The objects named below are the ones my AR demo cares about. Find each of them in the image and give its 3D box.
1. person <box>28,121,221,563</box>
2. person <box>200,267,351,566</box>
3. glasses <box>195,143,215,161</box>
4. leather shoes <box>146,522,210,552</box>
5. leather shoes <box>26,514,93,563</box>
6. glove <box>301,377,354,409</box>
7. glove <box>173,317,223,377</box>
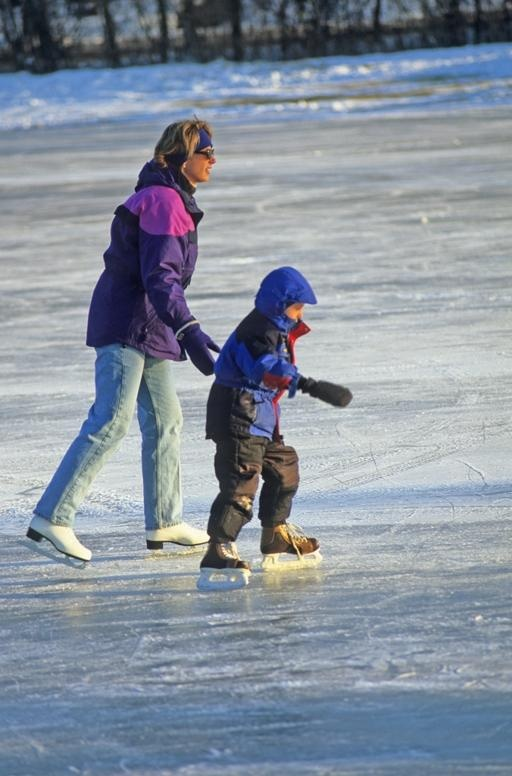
[{"bbox_3d":[-0.498,-0.162,5.544,0.712,1.738,0.594,-2,10,-1],"label":"person"},{"bbox_3d":[0.037,0.138,5.410,0.564,1.183,0.502,-3,10,-9],"label":"person"},{"bbox_3d":[-0.205,-0.928,5.551,0.068,0.030,0.081,5,4,-45],"label":"glasses"},{"bbox_3d":[-0.329,0.609,5.896,0.294,0.133,0.108,-4,10,-14],"label":"leather shoes"},{"bbox_3d":[-0.763,0.582,5.538,0.321,0.137,0.119,27,0,-10],"label":"leather shoes"},{"bbox_3d":[0.259,0.007,5.330,0.190,0.149,0.336,-1,9,4],"label":"glove"},{"bbox_3d":[-0.201,-0.165,5.340,0.165,0.202,0.084,-40,7,37],"label":"glove"}]
